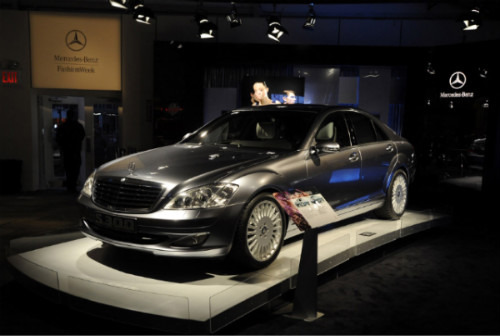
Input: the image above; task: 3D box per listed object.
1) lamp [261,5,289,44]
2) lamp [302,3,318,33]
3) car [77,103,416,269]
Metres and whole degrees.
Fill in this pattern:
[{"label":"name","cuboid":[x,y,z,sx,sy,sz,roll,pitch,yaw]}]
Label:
[{"label":"lamp","cuboid":[0.684,-3.644,9.011,0.534,0.888,1.437,5,13,1]},{"label":"lamp","cuboid":[1.553,-3.923,9.268,0.303,0.798,1.119,7,13,9]},{"label":"car","cuboid":[0.428,0.172,4.206,1.720,1.151,3.660,4,5,39]}]
